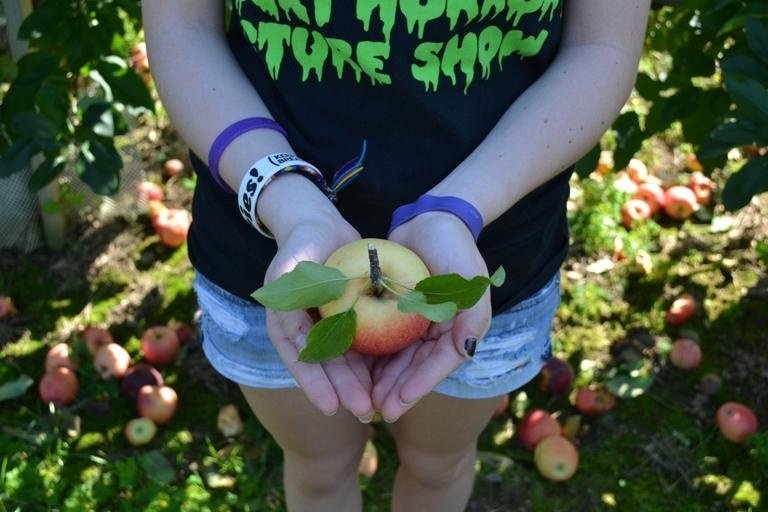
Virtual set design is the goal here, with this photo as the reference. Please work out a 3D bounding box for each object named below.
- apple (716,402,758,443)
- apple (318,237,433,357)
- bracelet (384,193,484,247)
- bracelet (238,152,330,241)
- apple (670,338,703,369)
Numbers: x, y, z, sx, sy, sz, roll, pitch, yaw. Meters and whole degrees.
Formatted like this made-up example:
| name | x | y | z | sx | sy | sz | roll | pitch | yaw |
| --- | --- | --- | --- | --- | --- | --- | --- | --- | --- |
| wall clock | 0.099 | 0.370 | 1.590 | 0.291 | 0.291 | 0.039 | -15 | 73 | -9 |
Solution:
| name | x | y | z | sx | sy | sz | roll | pitch | yaw |
| --- | --- | --- | --- | --- | --- | --- | --- | --- | --- |
| apple | 1.861 | 0.885 | 3.270 | 0.162 | 0.213 | 0.175 | -14 | 31 | 29 |
| apple | -0.015 | 0.161 | 1.995 | 0.299 | 0.309 | 0.357 | -4 | 73 | -6 |
| bracelet | 0.175 | -0.097 | 1.980 | 0.221 | 0.168 | 0.091 | -28 | 37 | 25 |
| bracelet | -0.376 | -0.244 | 2.012 | 0.222 | 0.297 | 0.108 | -5 | 22 | -12 |
| apple | 1.738 | 0.549 | 3.504 | 0.182 | 0.134 | 0.139 | -10 | 44 | -6 |
